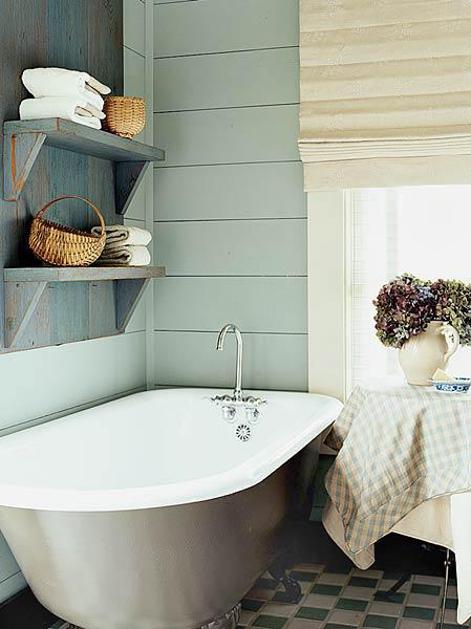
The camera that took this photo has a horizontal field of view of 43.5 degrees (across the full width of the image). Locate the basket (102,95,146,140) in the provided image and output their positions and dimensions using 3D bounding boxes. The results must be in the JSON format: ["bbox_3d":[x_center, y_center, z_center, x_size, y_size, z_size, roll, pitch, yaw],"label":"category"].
[{"bbox_3d":[-0.355,-0.640,1.961,0.153,0.147,0.161,9,13,-17],"label":"basket"}]

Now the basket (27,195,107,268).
[{"bbox_3d":[-0.483,-0.218,1.718,0.140,0.162,0.258,0,3,16],"label":"basket"}]

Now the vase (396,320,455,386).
[{"bbox_3d":[0.653,0.131,1.976,0.166,0.213,0.220,2,-5,-29],"label":"vase"}]

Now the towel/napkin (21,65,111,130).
[{"bbox_3d":[-0.490,-0.601,1.702,0.216,0.140,0.249,6,2,-13],"label":"towel/napkin"}]

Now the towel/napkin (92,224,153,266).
[{"bbox_3d":[-0.375,-0.234,2.018,0.137,0.105,0.170,4,5,27],"label":"towel/napkin"}]
